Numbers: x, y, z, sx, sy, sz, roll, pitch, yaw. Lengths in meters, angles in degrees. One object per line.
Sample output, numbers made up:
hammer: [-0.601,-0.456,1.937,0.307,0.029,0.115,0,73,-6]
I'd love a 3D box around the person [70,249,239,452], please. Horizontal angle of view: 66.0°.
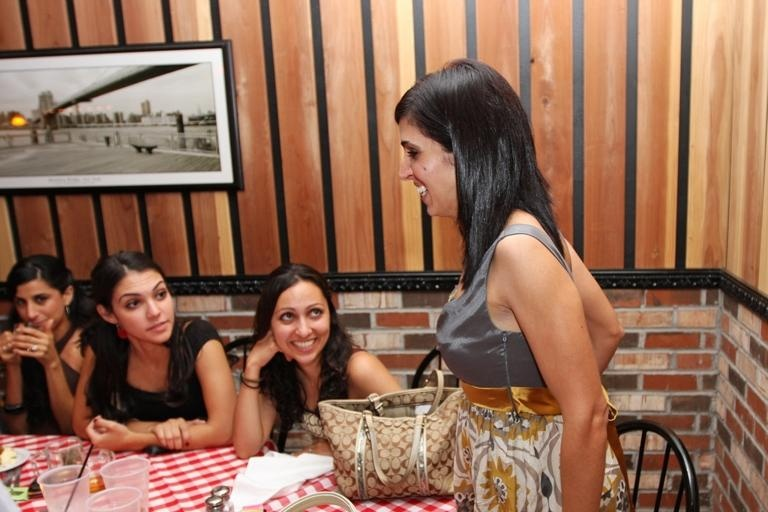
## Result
person: [-1.050,0.414,2.625,0.749,0.862,0.525,-1,4,-14]

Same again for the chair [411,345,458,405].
chair: [0.240,0.593,3.032,0.212,0.308,0.318,0,-8,29]

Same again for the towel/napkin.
towel/napkin: [-0.389,0.798,2.168,0.158,0.050,0.241,11,18,37]

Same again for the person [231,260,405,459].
person: [-0.304,0.540,2.666,0.782,0.991,0.584,-2,4,-3]

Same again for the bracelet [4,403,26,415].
bracelet: [-1.815,0.746,2.886,0.126,0.049,0.030,1,4,4]

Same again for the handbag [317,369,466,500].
handbag: [0.037,0.667,2.285,0.691,0.526,0.403,-2,-10,6]
